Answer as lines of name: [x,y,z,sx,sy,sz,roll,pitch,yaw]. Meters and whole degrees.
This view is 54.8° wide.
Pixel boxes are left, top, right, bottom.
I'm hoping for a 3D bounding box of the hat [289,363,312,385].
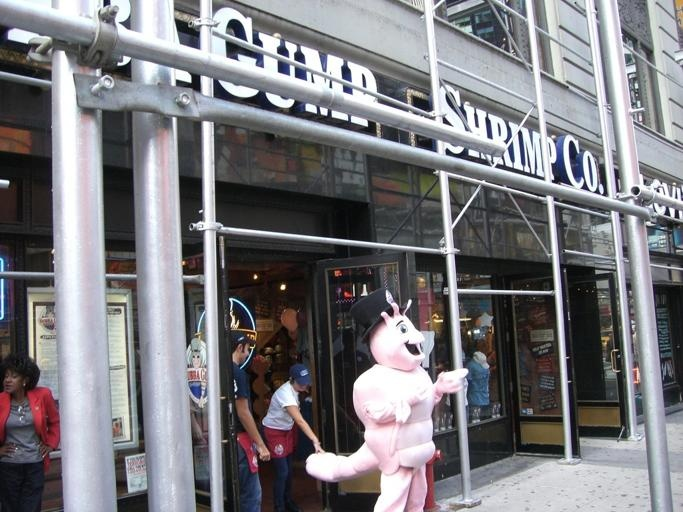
hat: [-0.469,1.274,7.134,0.185,0.144,0.249,-11,29,-38]
